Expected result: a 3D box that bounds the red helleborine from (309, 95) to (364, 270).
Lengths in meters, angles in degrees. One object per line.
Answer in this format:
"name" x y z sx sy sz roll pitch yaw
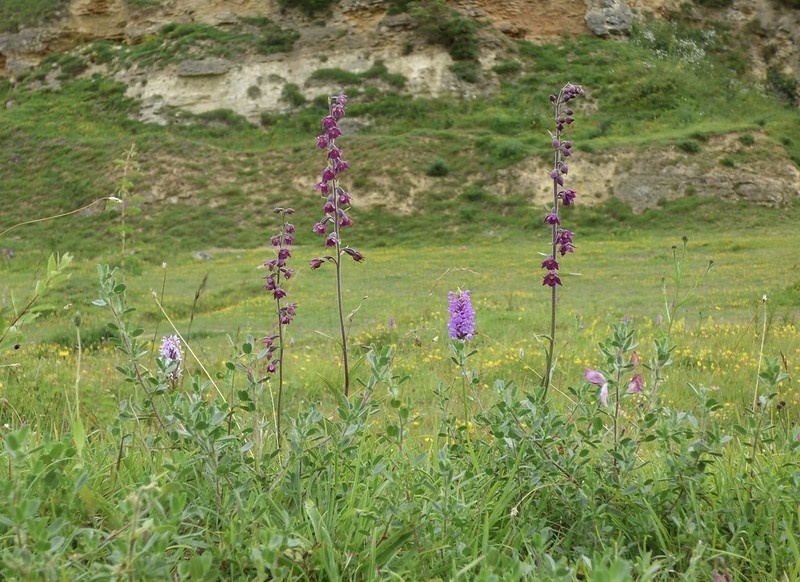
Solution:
"red helleborine" -3.515 -5.915 70.934 2.101 9.147 4.077 -3 8 -2
